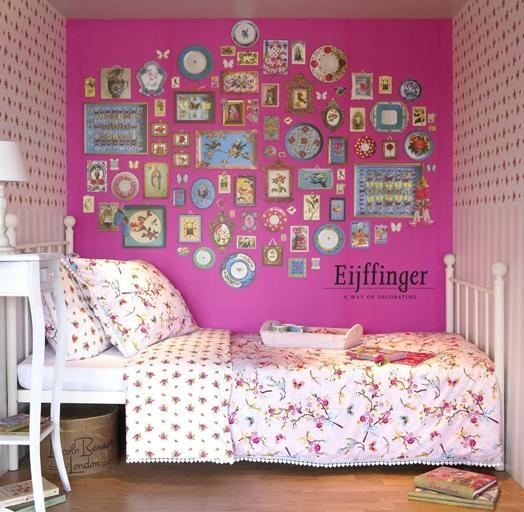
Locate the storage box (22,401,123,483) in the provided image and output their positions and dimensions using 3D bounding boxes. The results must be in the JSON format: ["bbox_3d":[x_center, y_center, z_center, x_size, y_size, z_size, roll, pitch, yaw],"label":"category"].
[{"bbox_3d":[-0.878,0.895,2.817,0.363,0.183,0.324,0,-3,-2],"label":"storage box"}]

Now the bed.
[{"bbox_3d":[0.004,0.411,3.298,2.596,1.133,1.222,-1,6,-6],"label":"bed"}]
